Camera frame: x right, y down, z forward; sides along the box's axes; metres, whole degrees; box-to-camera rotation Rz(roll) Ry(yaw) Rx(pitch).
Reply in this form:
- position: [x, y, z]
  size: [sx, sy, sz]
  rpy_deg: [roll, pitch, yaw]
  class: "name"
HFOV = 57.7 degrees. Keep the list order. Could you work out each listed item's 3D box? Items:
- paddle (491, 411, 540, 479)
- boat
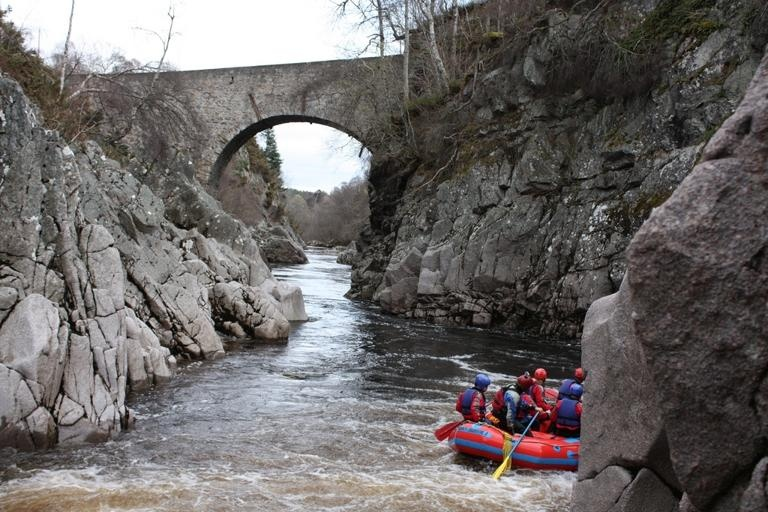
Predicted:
- position: [2.533, 3.735, 13.658]
  size: [0.179, 0.135, 1.600]
  rpy_deg: [4, 36, 47]
  class: "paddle"
- position: [2.531, 3.513, 13.601]
  size: [1.879, 0.556, 1.112]
  rpy_deg: [-1, 1, 24]
  class: "boat"
